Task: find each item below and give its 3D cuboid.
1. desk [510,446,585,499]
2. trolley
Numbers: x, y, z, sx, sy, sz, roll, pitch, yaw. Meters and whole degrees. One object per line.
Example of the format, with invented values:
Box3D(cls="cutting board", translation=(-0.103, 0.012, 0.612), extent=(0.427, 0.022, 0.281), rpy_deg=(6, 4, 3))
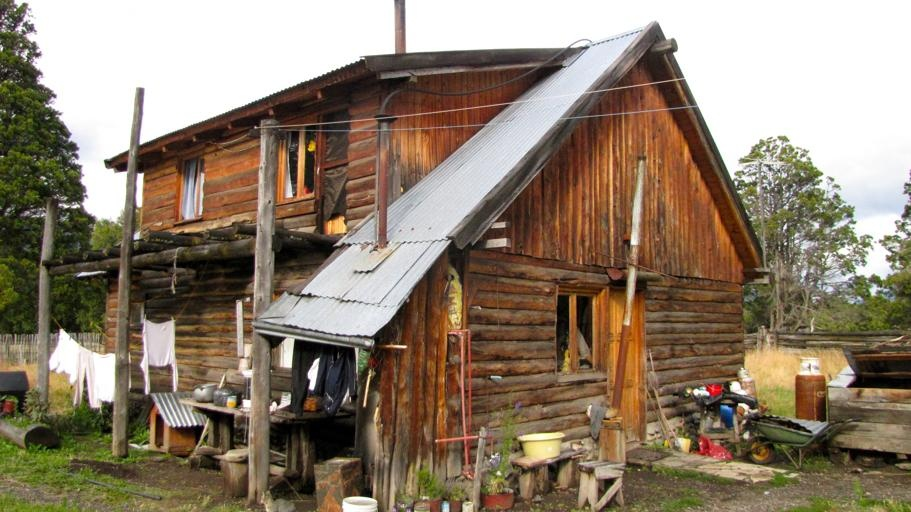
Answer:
Box3D(cls="desk", translation=(2.623, 5.966, 20.966), extent=(2.339, 0.945, 0.856), rpy_deg=(-1, 0, -38))
Box3D(cls="trolley", translation=(10.043, 5.477, 22.390), extent=(2.755, 1.285, 1.343), rpy_deg=(-3, -11, 28))
